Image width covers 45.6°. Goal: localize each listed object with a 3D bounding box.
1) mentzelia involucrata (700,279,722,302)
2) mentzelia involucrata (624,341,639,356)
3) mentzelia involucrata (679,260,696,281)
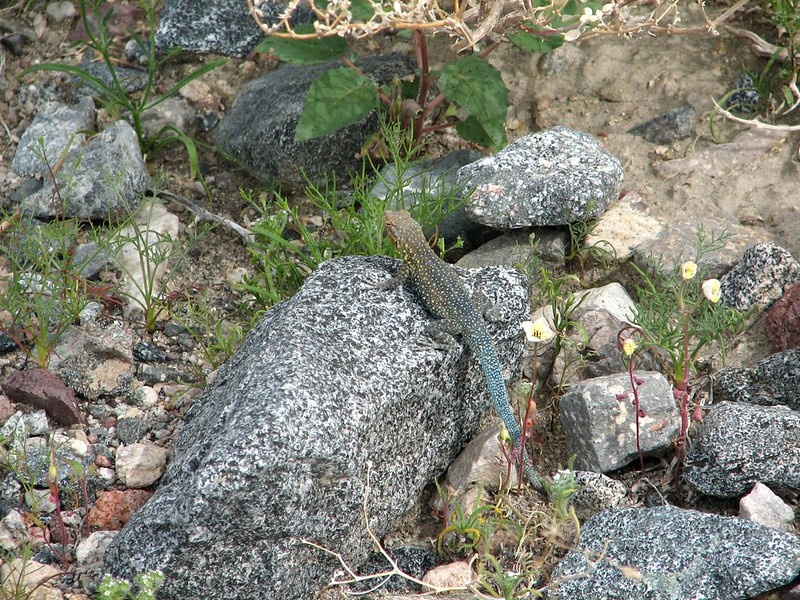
[{"bbox_3d":[1.812,-0.050,5.567,0.097,0.075,0.136,-24,108,-36],"label":"mentzelia involucrata"},{"bbox_3d":[1.371,0.282,5.664,0.085,0.038,0.108,-2,100,-24],"label":"mentzelia involucrata"},{"bbox_3d":[1.781,-0.178,5.920,0.113,0.052,0.152,39,41,-11],"label":"mentzelia involucrata"}]
